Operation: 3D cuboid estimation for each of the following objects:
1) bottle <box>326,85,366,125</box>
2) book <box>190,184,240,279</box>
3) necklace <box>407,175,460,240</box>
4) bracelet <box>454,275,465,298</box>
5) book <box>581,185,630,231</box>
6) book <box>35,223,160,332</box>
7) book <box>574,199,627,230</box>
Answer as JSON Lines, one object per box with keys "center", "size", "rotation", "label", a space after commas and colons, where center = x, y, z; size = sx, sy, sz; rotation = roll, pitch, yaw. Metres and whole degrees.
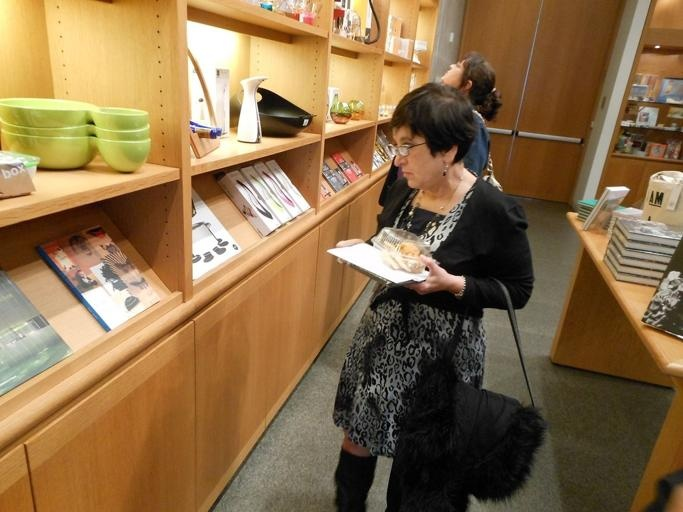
{"center": [0.024, -1.072, 3.389], "size": [0.246, 0.150, 0.334], "rotation": [1, 20, -6], "label": "bottle"}
{"center": [-0.525, -0.088, 1.930], "size": [0.015, 0.345, 0.328], "rotation": [-26, 15, 20], "label": "book"}
{"center": [0.364, -0.209, 1.911], "size": [0.181, 0.276, 0.307], "rotation": [1, 2, 32], "label": "necklace"}
{"center": [0.420, 0.103, 1.656], "size": [0.020, 0.062, 0.053], "rotation": [4, 30, -9], "label": "bracelet"}
{"center": [1.573, -0.277, 2.799], "size": [0.058, 0.265, 0.253], "rotation": [29, 20, 24], "label": "book"}
{"center": [-0.757, 0.070, 1.478], "size": [0.326, 0.034, 0.261], "rotation": [53, 34, -3], "label": "book"}
{"center": [1.688, -0.290, 3.069], "size": [0.229, 0.087, 0.245], "rotation": [8, 22, 22], "label": "book"}
